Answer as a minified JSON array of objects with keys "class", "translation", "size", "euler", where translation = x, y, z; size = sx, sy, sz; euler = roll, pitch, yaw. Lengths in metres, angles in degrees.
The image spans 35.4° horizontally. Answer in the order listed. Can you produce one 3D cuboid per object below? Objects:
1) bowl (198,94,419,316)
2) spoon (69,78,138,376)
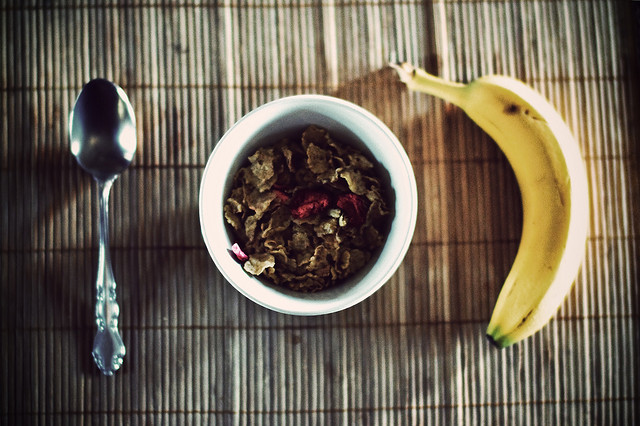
[{"class":"bowl","translation":[-0.033,-0.017,2.662],"size":[0.571,0.253,0.531],"euler":[4,67,-9]},{"class":"spoon","translation":[-0.591,-0.011,2.704],"size":[0.146,0.089,0.871],"euler":[-1,90,-10]}]
